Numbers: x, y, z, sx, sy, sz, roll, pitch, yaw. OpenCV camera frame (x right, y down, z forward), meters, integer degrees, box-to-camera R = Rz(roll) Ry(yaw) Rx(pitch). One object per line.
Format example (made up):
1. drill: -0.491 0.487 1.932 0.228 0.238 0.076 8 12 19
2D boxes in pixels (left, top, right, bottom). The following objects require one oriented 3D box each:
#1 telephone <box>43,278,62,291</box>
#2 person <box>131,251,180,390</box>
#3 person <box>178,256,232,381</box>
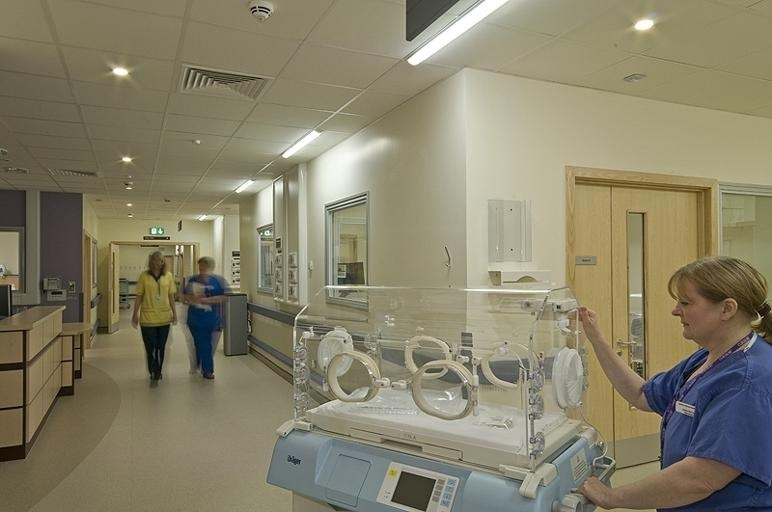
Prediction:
1. telephone: -6.400 0.539 9.531 0.293 0.233 0.072 -1 2 -38
2. person: -3.463 0.905 7.452 0.521 1.964 0.595 -1 2 -31
3. person: -2.805 0.954 7.715 0.604 1.861 0.681 -1 2 -20
